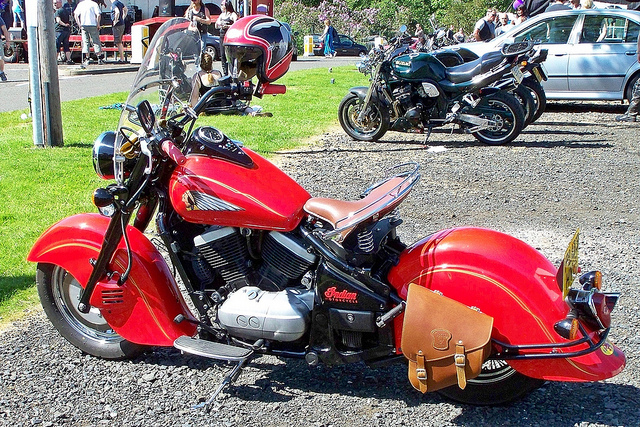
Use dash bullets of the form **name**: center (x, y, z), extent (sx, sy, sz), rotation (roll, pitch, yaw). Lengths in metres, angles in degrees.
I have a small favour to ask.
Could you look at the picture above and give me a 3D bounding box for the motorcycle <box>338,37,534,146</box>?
- **motorcycle**: center (2.136, -2.205, 10.320), extent (3.257, 1.880, 1.614), rotation (4, 20, 17)
